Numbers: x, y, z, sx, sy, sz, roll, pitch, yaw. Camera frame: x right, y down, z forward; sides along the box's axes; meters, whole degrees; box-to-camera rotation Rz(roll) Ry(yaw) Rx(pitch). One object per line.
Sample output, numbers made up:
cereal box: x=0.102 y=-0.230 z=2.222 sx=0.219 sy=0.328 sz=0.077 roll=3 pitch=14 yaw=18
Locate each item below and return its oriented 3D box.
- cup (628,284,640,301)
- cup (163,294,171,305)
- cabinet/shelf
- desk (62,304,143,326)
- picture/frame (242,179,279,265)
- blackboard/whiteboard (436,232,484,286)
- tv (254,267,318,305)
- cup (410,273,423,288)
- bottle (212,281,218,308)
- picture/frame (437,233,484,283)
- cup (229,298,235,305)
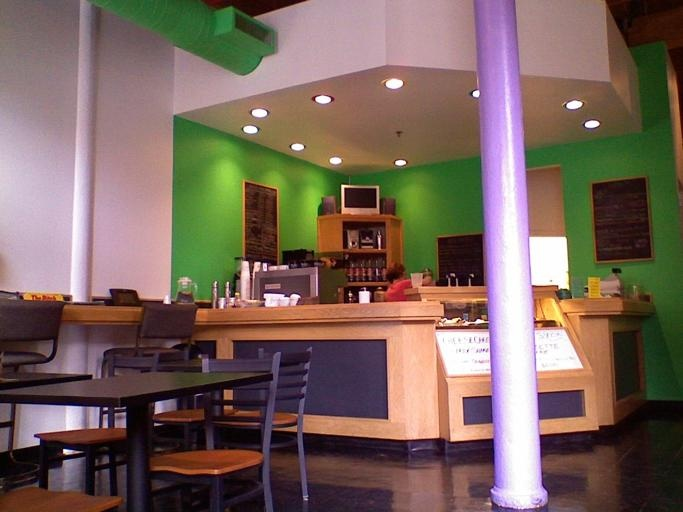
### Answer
cup: x=3.540 y=0.425 z=6.968 sx=0.112 sy=0.175 sz=0.238 roll=-2 pitch=-3 yaw=26
cup: x=-1.797 y=0.445 z=5.924 sx=0.087 sy=0.091 sz=0.087 roll=1 pitch=4 yaw=0
cabinet/shelf: x=0.214 y=0.032 z=7.462 sx=1.251 sy=1.380 sz=0.503 roll=0 pitch=-7 yaw=-8
desk: x=-2.018 y=0.489 z=4.871 sx=0.661 sy=0.185 sz=0.213 roll=1 pitch=-3 yaw=-35
picture/frame: x=-1.012 y=-0.433 z=7.399 sx=0.157 sy=1.014 sz=0.648 roll=-3 pitch=-3 yaw=29
blackboard/whiteboard: x=1.671 y=0.042 z=8.011 sx=0.745 sy=0.874 sz=0.079 roll=-2 pitch=-7 yaw=32
tv: x=-0.599 y=0.300 z=6.193 sx=0.145 sy=0.336 sz=1.082 roll=1 pitch=-4 yaw=-38
cup: x=0.735 y=0.231 z=5.592 sx=0.125 sy=0.132 sz=0.125 roll=-1 pitch=-2 yaw=0
bottle: x=-1.445 y=0.427 z=6.610 sx=0.079 sy=0.294 sz=0.351 roll=0 pitch=-3 yaw=-13
picture/frame: x=1.691 y=0.024 z=8.072 sx=0.691 sy=0.809 sz=0.088 roll=-3 pitch=-8 yaw=32
cup: x=-1.229 y=0.514 z=6.500 sx=0.069 sy=0.080 sz=0.339 roll=0 pitch=-3 yaw=-11
